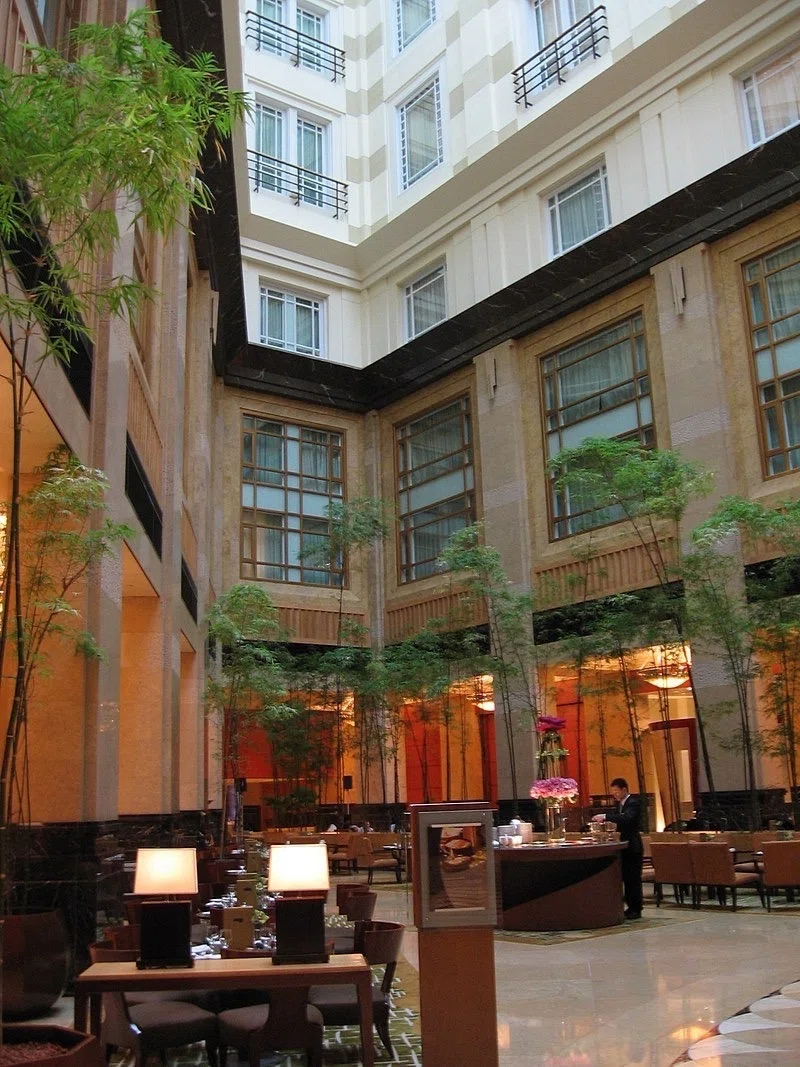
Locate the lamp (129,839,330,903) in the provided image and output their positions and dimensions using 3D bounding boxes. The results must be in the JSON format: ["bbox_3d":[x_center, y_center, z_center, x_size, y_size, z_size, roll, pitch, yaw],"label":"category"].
[{"bbox_3d":[-0.617,1.226,3.525,0.746,0.216,0.392,4,-19,-29],"label":"lamp"}]

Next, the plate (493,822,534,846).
[{"bbox_3d":[1.017,2.669,8.680,0.314,0.195,0.860,-7,-17,7],"label":"plate"}]
